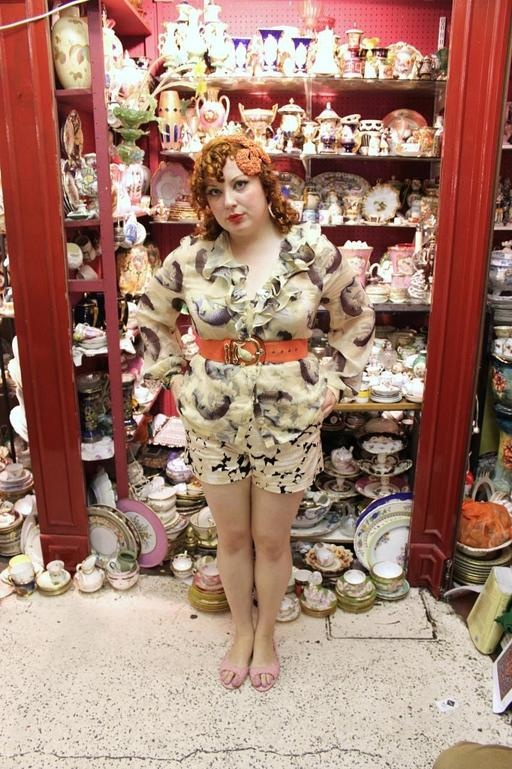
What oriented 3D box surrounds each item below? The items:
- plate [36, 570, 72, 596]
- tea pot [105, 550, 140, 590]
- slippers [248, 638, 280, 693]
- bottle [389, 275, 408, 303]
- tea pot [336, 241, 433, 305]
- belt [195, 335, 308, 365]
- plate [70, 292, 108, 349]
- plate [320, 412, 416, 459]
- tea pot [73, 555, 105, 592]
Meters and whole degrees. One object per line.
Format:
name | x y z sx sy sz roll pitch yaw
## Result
plate | -0.727 0.693 2.085 0.100 0.038 0.098 3 24 4
tea pot | -0.472 0.668 2.162 0.130 0.144 0.130 9 44 -8
slippers | 0.022 0.817 1.721 0.084 0.033 0.222 -8 7 1
bottle | 0.560 -0.378 2.316 0.088 0.106 0.110 0 17 0
tea pot | 0.541 -0.499 2.410 0.284 0.124 0.377 -2 19 -1
belt | -0.012 -0.087 1.416 0.267 0.066 0.135 0 12 2
plate | -0.641 -0.233 2.100 0.153 0.209 0.205 -5 13 -22
plate | 0.487 0.215 2.501 0.277 0.161 0.145 0 5 2
tea pot | -0.597 0.682 2.116 0.105 0.137 0.097 -1 12 0
